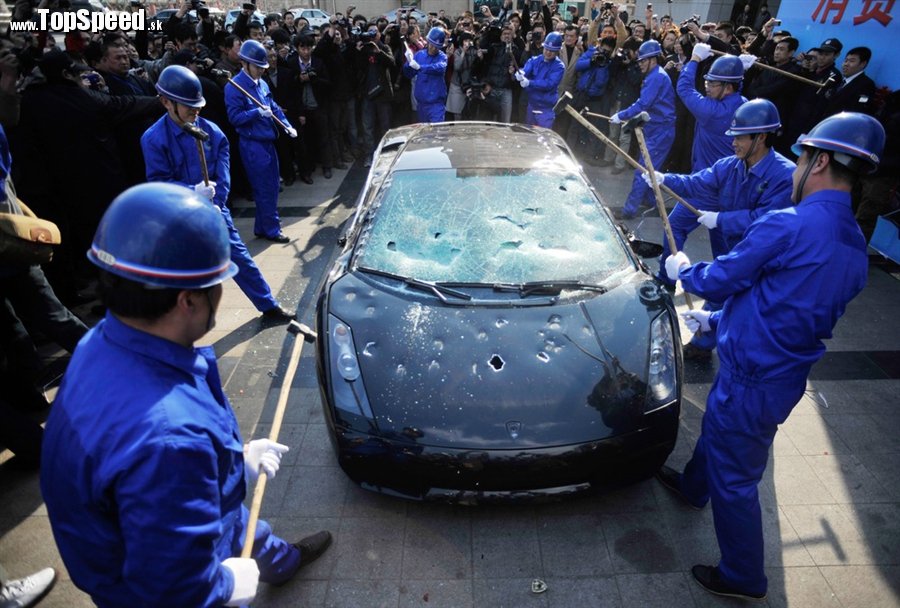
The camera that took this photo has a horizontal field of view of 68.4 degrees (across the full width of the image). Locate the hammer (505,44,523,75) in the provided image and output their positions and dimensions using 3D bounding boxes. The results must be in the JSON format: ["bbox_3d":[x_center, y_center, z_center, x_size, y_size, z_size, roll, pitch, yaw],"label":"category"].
[{"bbox_3d":[1.029,-4.203,10.963,0.206,0.196,0.844,-4,59,7],"label":"hammer"}]

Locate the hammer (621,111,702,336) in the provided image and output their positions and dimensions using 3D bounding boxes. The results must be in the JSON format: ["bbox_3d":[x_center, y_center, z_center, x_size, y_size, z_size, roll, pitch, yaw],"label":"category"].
[{"bbox_3d":[2.134,-0.847,6.748,0.258,3.318,0.482,-7,-9,-5],"label":"hammer"}]

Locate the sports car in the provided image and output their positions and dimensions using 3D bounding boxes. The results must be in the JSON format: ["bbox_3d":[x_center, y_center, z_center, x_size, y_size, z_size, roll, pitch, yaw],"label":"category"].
[{"bbox_3d":[0.275,-0.191,5.500,2.629,2.151,5.216,0,19,-1],"label":"sports car"}]

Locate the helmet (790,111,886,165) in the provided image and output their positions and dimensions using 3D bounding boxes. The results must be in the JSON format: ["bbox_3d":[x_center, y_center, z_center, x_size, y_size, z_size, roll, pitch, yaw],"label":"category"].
[{"bbox_3d":[2.533,-1.094,4.287,0.466,0.283,0.205,19,32,23],"label":"helmet"}]

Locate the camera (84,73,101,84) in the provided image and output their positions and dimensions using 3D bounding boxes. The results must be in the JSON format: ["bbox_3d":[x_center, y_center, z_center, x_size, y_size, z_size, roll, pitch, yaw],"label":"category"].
[{"bbox_3d":[-3.760,-2.389,6.979,0.103,0.157,0.043,-2,-13,-29],"label":"camera"}]

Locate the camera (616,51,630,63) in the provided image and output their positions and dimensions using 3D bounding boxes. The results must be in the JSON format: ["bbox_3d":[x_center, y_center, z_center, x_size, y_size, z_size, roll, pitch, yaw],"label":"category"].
[{"bbox_3d":[2.711,-3.958,10.507,0.149,0.222,0.060,15,10,29],"label":"camera"}]

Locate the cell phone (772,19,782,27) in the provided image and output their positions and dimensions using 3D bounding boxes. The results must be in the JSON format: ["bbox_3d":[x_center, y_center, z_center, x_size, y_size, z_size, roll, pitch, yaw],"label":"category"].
[{"bbox_3d":[4.995,-4.356,10.197,0.075,0.091,0.150,6,10,12],"label":"cell phone"}]

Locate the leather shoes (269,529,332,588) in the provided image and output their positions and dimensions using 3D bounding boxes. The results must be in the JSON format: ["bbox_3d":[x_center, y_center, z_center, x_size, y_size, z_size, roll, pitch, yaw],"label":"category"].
[{"bbox_3d":[-1.052,1.708,4.576,0.179,0.202,0.535,28,41,23],"label":"leather shoes"}]

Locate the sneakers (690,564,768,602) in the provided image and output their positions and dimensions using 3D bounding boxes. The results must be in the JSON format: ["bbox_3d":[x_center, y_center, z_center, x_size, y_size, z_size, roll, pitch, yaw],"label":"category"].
[{"bbox_3d":[1.885,1.880,4.538,0.461,0.231,0.190,14,41,25],"label":"sneakers"}]
